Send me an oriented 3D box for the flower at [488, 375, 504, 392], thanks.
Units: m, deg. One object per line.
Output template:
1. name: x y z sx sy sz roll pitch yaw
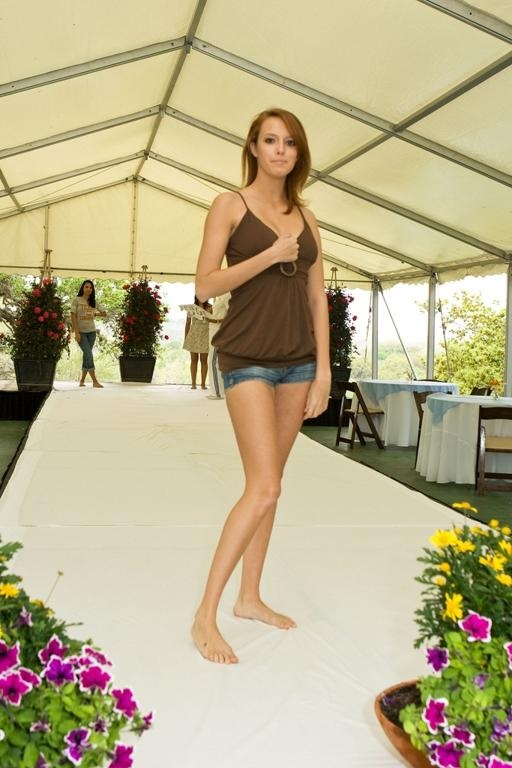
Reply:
1. flower: 3.842 -0.015 8.150 0.232 0.250 0.248 2 13 5

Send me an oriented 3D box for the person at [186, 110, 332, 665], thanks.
1. person: 0.017 -0.052 1.500 0.305 1.494 0.514 4 4 40

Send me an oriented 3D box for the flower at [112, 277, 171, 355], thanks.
1. flower: -2.206 -1.255 9.866 0.938 1.469 0.702 1 3 -17

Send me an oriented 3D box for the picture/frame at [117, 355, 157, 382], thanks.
1. picture/frame: -2.321 -0.278 9.853 0.487 0.427 0.590 0 1 -5

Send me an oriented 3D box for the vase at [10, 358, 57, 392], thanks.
1. vase: -3.322 -0.128 7.590 0.434 0.393 0.531 0 2 -7

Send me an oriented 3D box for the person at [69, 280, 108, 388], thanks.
1. person: -2.772 -0.830 8.394 0.512 1.788 1.073 1 3 -17
